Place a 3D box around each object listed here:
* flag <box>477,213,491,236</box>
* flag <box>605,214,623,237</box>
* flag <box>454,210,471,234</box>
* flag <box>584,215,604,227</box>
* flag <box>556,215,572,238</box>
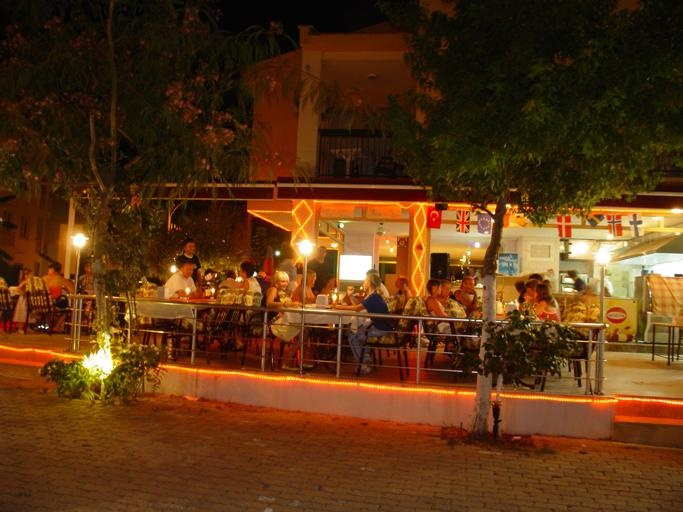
[{"bbox_3d":[3.194,-0.737,14.163,0.287,0.418,0.864,3,3,13],"label":"flag"},{"bbox_3d":[6.260,-0.731,14.577,0.432,0.837,0.083,7,14,44],"label":"flag"},{"bbox_3d":[2.839,-0.835,14.979,0.467,0.667,0.066,6,-29,-5],"label":"flag"},{"bbox_3d":[6.013,-0.852,15.055,0.370,0.273,1.933,3,3,20],"label":"flag"},{"bbox_3d":[4.816,-0.661,13.727,0.302,0.604,0.313,5,20,22],"label":"flag"}]
